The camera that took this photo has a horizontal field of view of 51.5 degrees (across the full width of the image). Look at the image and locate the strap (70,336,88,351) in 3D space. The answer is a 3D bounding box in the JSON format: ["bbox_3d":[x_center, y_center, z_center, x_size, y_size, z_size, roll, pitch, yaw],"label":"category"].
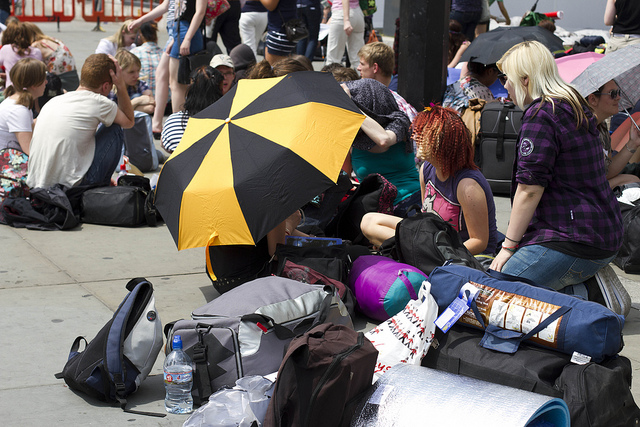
[{"bbox_3d":[-1.641,0.892,4.534,0.077,0.117,0.122,6,-25,0],"label":"strap"}]

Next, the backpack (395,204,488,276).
[{"bbox_3d":[0.937,0.248,5.244,0.646,0.557,0.501,-5,-5,24],"label":"backpack"}]

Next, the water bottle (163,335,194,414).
[{"bbox_3d":[-0.913,1.031,4.301,0.209,0.491,0.164,11,13,39],"label":"water bottle"}]

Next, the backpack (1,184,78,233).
[{"bbox_3d":[-2.945,-0.047,6.929,0.819,0.435,0.278,2,10,-3],"label":"backpack"}]

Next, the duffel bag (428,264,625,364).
[{"bbox_3d":[1.351,0.657,4.459,1.330,0.388,0.668,10,22,41],"label":"duffel bag"}]

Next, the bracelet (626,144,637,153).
[{"bbox_3d":[2.612,-0.539,5.549,0.077,0.064,0.123,7,11,22],"label":"bracelet"}]

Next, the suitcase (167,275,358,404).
[{"bbox_3d":[-0.344,0.845,4.854,1.319,0.680,0.930,-13,4,-44],"label":"suitcase"}]

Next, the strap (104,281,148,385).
[{"bbox_3d":[-1.275,0.773,4.328,0.142,0.619,0.260,5,11,13],"label":"strap"}]

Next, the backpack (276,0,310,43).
[{"bbox_3d":[-0.380,-2.754,9.532,0.371,0.602,0.395,-5,12,-34],"label":"backpack"}]

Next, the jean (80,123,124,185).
[{"bbox_3d":[-2.400,-0.660,7.320,0.464,0.666,0.188,-2,11,-24],"label":"jean"}]

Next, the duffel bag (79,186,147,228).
[{"bbox_3d":[-2.210,-0.073,7.085,0.727,0.428,0.179,3,10,5],"label":"duffel bag"}]

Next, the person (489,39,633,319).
[{"bbox_3d":[1.757,-0.314,4.830,0.905,1.798,0.393,3,10,2],"label":"person"}]

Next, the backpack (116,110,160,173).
[{"bbox_3d":[-2.352,-0.966,8.515,0.599,0.806,0.423,24,37,37],"label":"backpack"}]

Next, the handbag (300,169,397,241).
[{"bbox_3d":[0.295,-0.040,6.153,0.656,0.626,0.440,14,-20,10],"label":"handbag"}]

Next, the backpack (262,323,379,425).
[{"bbox_3d":[0.044,0.983,3.904,0.401,0.488,0.608,12,14,44],"label":"backpack"}]

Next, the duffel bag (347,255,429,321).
[{"bbox_3d":[0.511,0.533,5.119,0.423,0.313,0.564,-23,19,-23],"label":"duffel bag"}]

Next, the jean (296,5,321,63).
[{"bbox_3d":[-0.174,-2.991,11.011,0.384,0.834,1.200,2,10,-1],"label":"jean"}]

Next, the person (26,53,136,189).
[{"bbox_3d":[-2.582,-0.998,7.174,1.122,1.424,0.434,-2,11,-25],"label":"person"}]

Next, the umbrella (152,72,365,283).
[{"bbox_3d":[-0.483,-0.533,5.172,1.459,1.461,0.913,-30,-42,19],"label":"umbrella"}]

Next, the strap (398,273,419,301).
[{"bbox_3d":[0.685,0.547,5.048,0.065,0.180,0.129,-28,11,-24],"label":"strap"}]

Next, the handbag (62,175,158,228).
[{"bbox_3d":[-2.240,-0.152,7.165,0.983,0.449,0.670,2,9,19],"label":"handbag"}]
